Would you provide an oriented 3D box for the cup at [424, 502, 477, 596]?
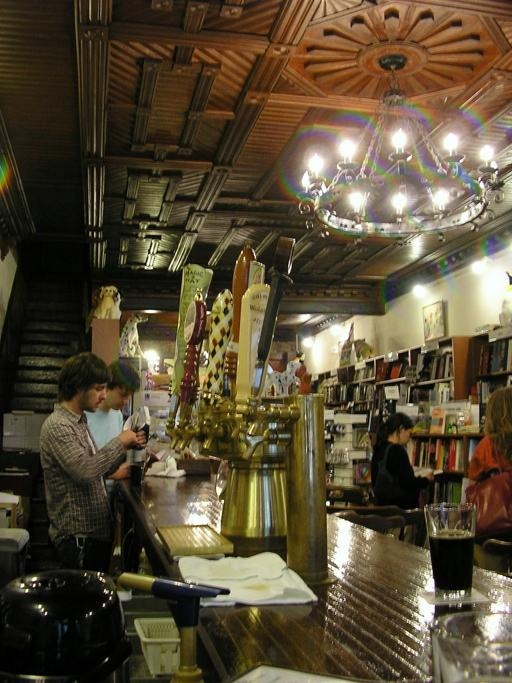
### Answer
[{"bbox_3d":[0.321,0.344,0.759,0.092,0.147,0.094,1,-12,0],"label":"cup"}]

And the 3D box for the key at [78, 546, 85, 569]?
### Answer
[{"bbox_3d":[-0.850,1.069,2.210,0.030,0.081,0.139,6,-7,-18],"label":"key"}]

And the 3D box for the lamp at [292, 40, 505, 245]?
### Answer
[{"bbox_3d":[1.363,-1.591,4.428,1.685,1.519,1.729,0,-10,-4],"label":"lamp"}]
